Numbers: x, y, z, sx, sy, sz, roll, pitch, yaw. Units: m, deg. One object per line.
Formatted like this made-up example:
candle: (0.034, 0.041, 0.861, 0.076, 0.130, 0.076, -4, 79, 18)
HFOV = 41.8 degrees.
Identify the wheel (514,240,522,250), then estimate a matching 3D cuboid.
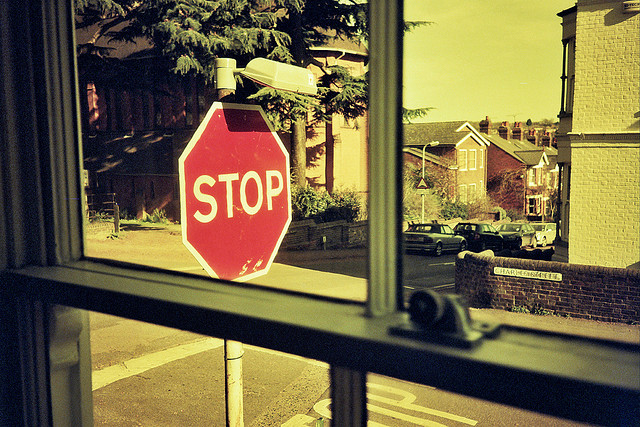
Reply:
wheel: (7.077, 1.142, 30.775, 0.096, 0.291, 0.293, 1, 33, 31)

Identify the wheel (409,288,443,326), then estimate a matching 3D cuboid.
wheel: (0.816, 0.726, 6.673, 0.322, 0.322, 0.250, -2, -7, 33)

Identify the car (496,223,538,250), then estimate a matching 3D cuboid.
car: (7.144, 0.800, 31.417, 0.794, 0.629, 1.907, -1, -4, 35)

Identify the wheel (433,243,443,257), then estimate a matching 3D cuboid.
wheel: (3.519, 1.108, 26.018, 0.120, 0.366, 0.370, 3, 15, 24)

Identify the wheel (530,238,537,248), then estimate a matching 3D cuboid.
wheel: (8.109, 1.139, 32.428, 0.087, 0.384, 0.533, 6, 8, 37)

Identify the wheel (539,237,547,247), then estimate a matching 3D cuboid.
wheel: (8.605, 1.139, 32.928, 0.120, 0.302, 0.304, 9, 6, -6)

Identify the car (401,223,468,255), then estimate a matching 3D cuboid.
car: (3.462, 0.782, 26.704, 1.435, 0.936, 3.008, 2, 4, 35)

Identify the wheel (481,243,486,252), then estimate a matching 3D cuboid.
wheel: (5.403, 1.140, 28.441, 0.065, 0.225, 0.247, 7, -2, 30)

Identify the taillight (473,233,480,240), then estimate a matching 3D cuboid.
taillight: (5.154, 0.770, 28.279, 0.188, 0.210, 0.040, -2, 7, -25)
